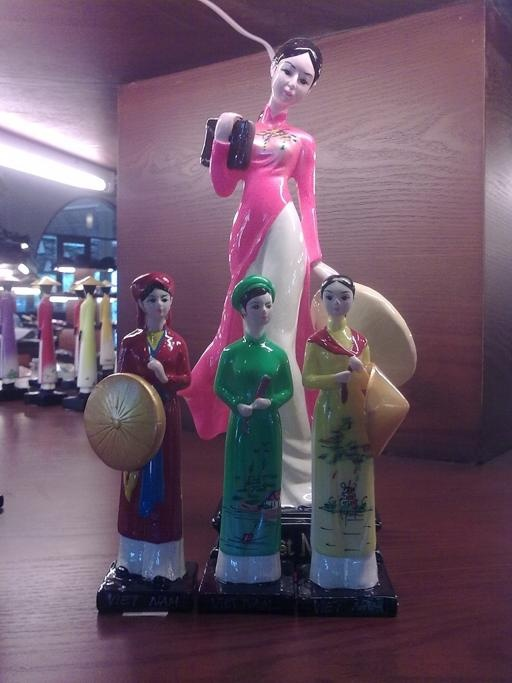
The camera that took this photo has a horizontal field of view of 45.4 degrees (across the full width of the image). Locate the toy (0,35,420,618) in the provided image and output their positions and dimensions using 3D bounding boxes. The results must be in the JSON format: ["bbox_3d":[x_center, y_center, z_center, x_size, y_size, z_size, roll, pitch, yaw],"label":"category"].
[{"bbox_3d":[0.082,-0.169,2.077,0.887,1.895,0.979,2,6,14],"label":"toy"}]
